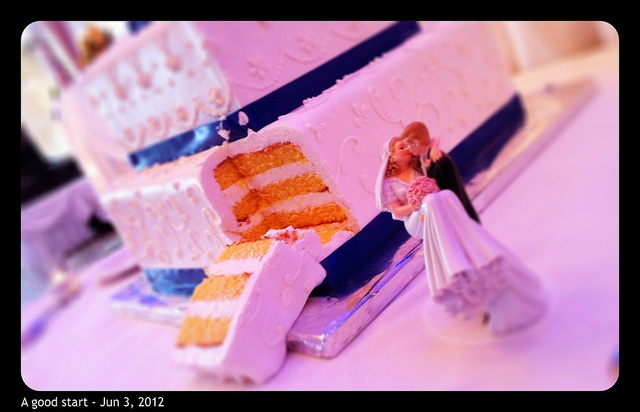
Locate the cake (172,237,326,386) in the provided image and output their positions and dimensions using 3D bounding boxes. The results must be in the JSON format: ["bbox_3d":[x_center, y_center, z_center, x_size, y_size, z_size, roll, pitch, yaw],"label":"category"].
[{"bbox_3d":[-0.350,0.656,3.105,0.819,0.304,0.767,-19,33,29],"label":"cake"}]
